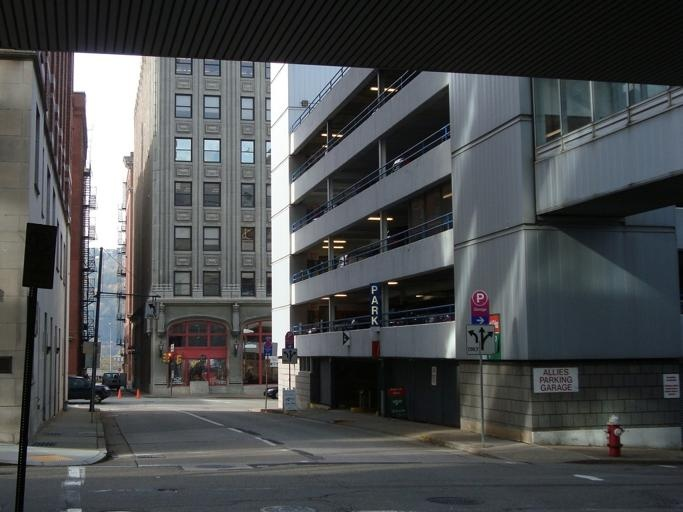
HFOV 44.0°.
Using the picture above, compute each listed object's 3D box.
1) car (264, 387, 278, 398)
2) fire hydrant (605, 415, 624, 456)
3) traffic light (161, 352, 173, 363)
[{"bbox_3d":[-5.174,9.987,61.847,0.706,0.939,4.561,3,-10,-6],"label":"car"},{"bbox_3d":[7.429,4.878,23.081,0.404,1.088,0.943,-1,-9,17],"label":"fire hydrant"},{"bbox_3d":[-13.772,7.947,66.690,1.024,1.099,1.071,1,-3,-19],"label":"traffic light"}]
